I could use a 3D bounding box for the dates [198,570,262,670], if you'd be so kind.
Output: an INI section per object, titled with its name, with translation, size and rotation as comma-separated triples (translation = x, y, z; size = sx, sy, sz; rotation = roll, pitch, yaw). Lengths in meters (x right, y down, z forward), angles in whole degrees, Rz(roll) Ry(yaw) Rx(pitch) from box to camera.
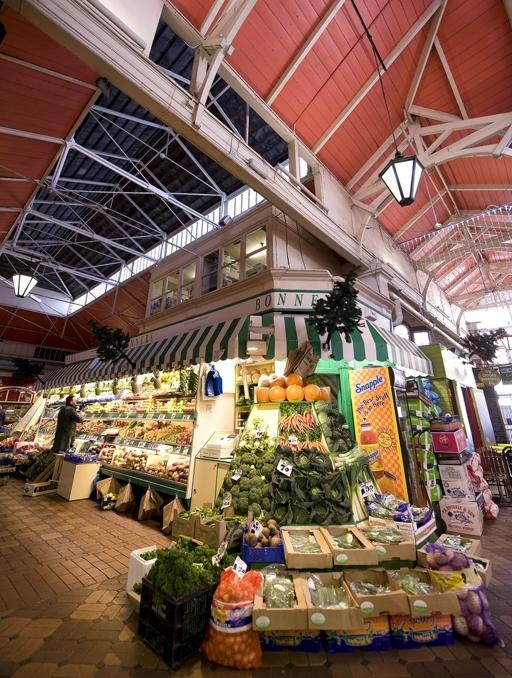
[dates]
translation = -0.155, 1.986, 2.777
size = 0.386, 0.485, 0.444
rotation = 8, -5, 0

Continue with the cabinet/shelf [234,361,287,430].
[cabinet/shelf]
translation = 0.082, 0.810, 5.366
size = 0.919, 1.300, 0.366
rotation = -18, -36, 36

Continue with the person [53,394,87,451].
[person]
translation = -3.793, 1.821, 7.910
size = 0.475, 1.232, 0.432
rotation = 0, -1, -3

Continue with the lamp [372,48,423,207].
[lamp]
translation = 2.251, -3.515, 6.166
size = 0.730, 3.041, 0.753
rotation = -5, -8, 32

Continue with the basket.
[basket]
translation = -0.593, 1.991, 2.760
size = 0.412, 0.453, 0.483
rotation = 7, -6, -22

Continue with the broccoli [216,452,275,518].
[broccoli]
translation = -0.081, 1.500, 3.925
size = 0.498, 0.543, 0.424
rotation = -3, -8, 43

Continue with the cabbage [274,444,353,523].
[cabbage]
translation = 0.512, 1.368, 3.586
size = 0.636, 0.578, 0.192
rotation = 1, -57, 8
